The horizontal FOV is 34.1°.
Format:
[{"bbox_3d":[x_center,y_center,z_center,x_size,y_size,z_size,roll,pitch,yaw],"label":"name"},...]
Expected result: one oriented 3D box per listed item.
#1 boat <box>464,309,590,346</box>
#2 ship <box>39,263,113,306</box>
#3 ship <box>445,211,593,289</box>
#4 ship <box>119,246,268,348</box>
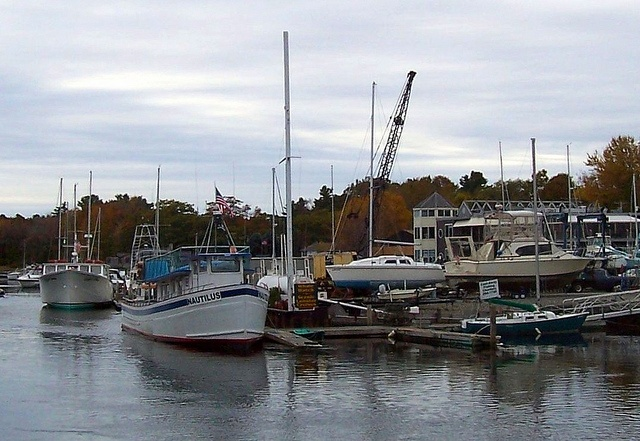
[{"bbox_3d":[11.970,6.106,59.602,6.660,1.718,2.519,-2,2,-5],"label":"boat"},{"bbox_3d":[-18.666,4.928,79.177,4.290,3.534,5.896,-1,-4,21],"label":"ship"},{"bbox_3d":[13.632,1.865,71.153,10.699,5.468,4.504,0,0,6],"label":"ship"},{"bbox_3d":[-7.196,4.496,59.031,7.530,5.402,13.528,0,-3,-25],"label":"ship"}]
